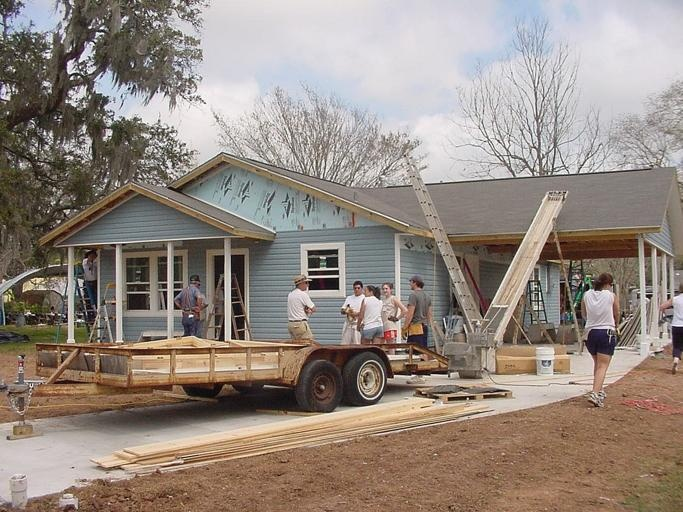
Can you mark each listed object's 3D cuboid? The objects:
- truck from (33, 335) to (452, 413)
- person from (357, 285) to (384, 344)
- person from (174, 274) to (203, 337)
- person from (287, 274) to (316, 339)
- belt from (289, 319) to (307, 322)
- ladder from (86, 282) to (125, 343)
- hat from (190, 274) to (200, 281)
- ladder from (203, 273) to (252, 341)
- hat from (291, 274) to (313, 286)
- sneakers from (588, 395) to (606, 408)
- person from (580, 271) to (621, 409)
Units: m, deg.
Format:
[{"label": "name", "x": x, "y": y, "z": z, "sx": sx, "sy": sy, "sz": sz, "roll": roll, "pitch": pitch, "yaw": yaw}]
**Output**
[{"label": "truck", "x": -1.358, "y": 1.793, "z": 9.597, "sx": 5.776, "sy": 1.259, "sz": 1.471, "roll": -1, "pitch": 1, "yaw": -27}, {"label": "person", "x": 0.559, "y": 1.130, "z": 12.261, "sx": 0.474, "sy": 1.079, "sz": 0.518, "roll": 0, "pitch": 2, "yaw": 4}, {"label": "person", "x": -3.417, "y": 1.167, "z": 14.396, "sx": 0.585, "sy": 1.405, "sz": 1.377, "roll": -1, "pitch": 1, "yaw": -15}, {"label": "person", "x": -0.711, "y": 0.939, "z": 11.318, "sx": 0.434, "sy": 1.157, "sz": 0.668, "roll": -1, "pitch": 2, "yaw": -3}, {"label": "belt", "x": -0.802, "y": 1.150, "z": 11.331, "sx": 0.311, "sy": 0.075, "sz": 0.141, "roll": 0, "pitch": 1, "yaw": 19}, {"label": "ladder", "x": -6.939, "y": 1.660, "z": 18.556, "sx": 0.704, "sy": 1.730, "sz": 1.611, "roll": -2, "pitch": 2, "yaw": -27}, {"label": "hat", "x": -3.584, "y": 0.534, "z": 15.674, "sx": 0.209, "sy": 0.128, "sz": 0.152, "roll": -5, "pitch": 1, "yaw": 7}, {"label": "ladder", "x": -3.064, "y": 1.387, "z": 17.046, "sx": 1.178, "sy": 1.813, "sz": 1.691, "roll": -1, "pitch": 2, "yaw": -27}, {"label": "hat", "x": -0.682, "y": 0.390, "z": 11.559, "sx": 0.249, "sy": 0.107, "sz": 0.271, "roll": -22, "pitch": -8, "yaw": 36}, {"label": "sneakers", "x": 3.761, "y": 2.139, "z": 9.345, "sx": 0.376, "sy": 0.182, "sz": 0.142, "roll": 13, "pitch": -8, "yaw": -41}, {"label": "person", "x": 3.935, "y": 1.246, "z": 9.720, "sx": 0.525, "sy": 1.946, "sz": 1.267, "roll": 0, "pitch": 2, "yaw": 24}]
